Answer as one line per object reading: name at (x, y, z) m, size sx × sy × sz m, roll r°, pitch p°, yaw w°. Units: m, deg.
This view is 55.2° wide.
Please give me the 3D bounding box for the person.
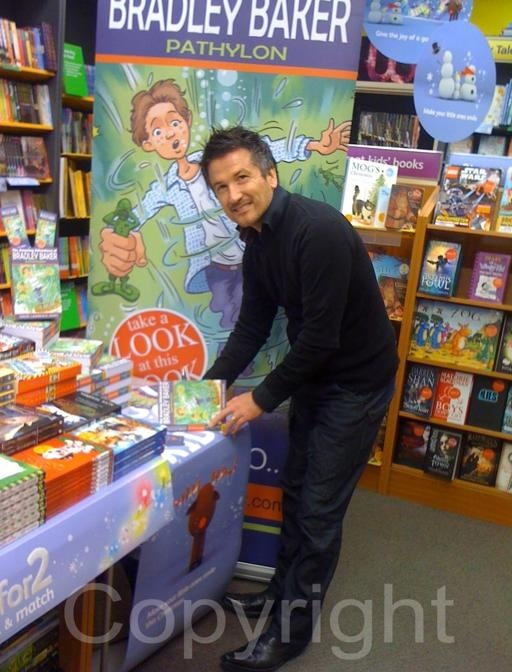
person at (0.103, 0.245, 1.595) m, size 0.635 × 1.680 × 0.517 m, roll 8°, pitch 9°, yaw 16°
